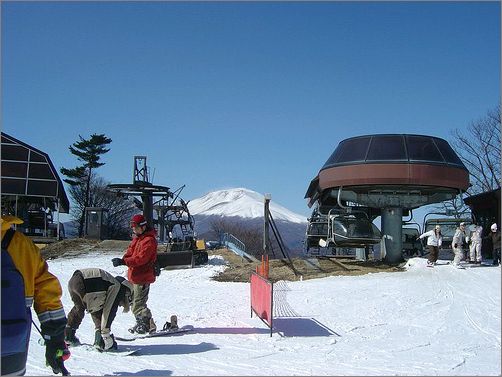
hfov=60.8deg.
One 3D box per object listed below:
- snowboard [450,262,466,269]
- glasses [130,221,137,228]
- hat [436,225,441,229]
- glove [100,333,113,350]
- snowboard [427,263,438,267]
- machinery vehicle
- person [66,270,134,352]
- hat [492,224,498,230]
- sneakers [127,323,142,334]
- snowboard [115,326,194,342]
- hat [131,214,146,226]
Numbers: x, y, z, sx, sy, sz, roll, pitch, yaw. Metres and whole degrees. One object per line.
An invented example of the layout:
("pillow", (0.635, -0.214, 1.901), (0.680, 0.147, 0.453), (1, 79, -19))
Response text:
("snowboard", (8.304, 3.122, 17.306), (0.262, 0.161, 0.906), (-1, 5, 5))
("glasses", (-2.294, 0.693, 8.310), (0.089, 0.072, 0.097), (-5, -6, 44))
("hat", (7.428, 1.539, 16.877), (0.198, 0.146, 0.201), (1, 0, -5))
("glove", (-2.494, 2.632, 7.336), (0.196, 0.245, 0.173), (-12, -26, 17))
("snowboard", (7.360, 3.133, 17.524), (0.231, 0.124, 0.340), (2, -9, -8))
("machinery vehicle", (-4.478, 4.074, 28.516), (3.983, 1.669, 3.453), (-5, 2, 8))
("person", (-2.761, 2.156, 7.761), (1.243, 1.342, 1.043), (4, -2, -11))
("hat", (10.091, 1.631, 17.691), (0.163, 0.349, 0.502), (-3, -5, 32))
("sneakers", (-2.353, 2.804, 8.556), (0.394, 0.182, 0.139), (0, -18, 20))
("snowboard", (-1.962, 2.959, 8.692), (1.782, 0.222, 0.239), (7, -10, -42))
("hat", (-2.211, 0.624, 8.382), (0.195, 0.243, 0.281), (5, 20, 37))
